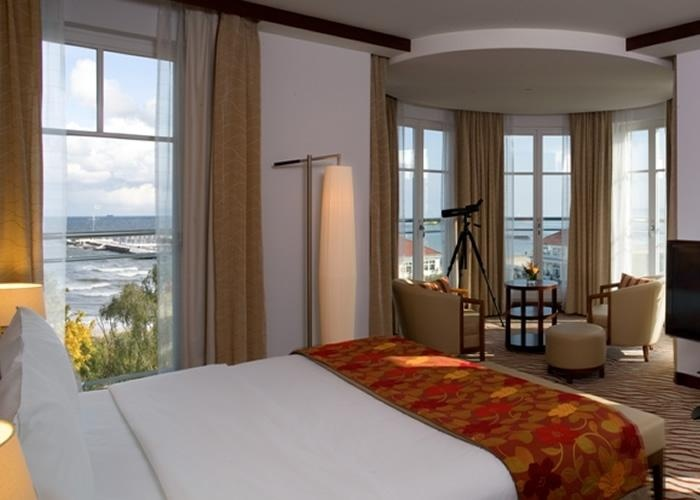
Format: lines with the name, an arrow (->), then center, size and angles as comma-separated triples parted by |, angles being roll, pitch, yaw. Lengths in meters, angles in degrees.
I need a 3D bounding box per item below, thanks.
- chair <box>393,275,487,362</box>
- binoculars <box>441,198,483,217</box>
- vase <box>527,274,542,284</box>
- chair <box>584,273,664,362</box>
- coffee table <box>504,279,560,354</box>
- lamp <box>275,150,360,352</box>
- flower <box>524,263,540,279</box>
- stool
chair -> 1.085, 0.807, 5.928 | 1.003, 0.927, 1.031 | -2, 2, 14
binoculars -> 1.564, -0.559, 6.899 | 0.493, 0.197, 0.397 | -1, 2, -11
vase -> 2.469, 0.381, 6.520 | 0.132, 0.147, 0.140 | 2, 5, 8
chair -> 3.329, 0.639, 6.002 | 0.874, 1.116, 1.116 | 0, -1, 35
coffee table -> 2.395, 0.899, 6.467 | 0.812, 1.034, 0.860 | 0, 1, -27
lamp -> -0.264, 0.040, 5.089 | 0.687, 2.055, 0.620 | 8, 13, 44
flower -> 2.613, 0.301, 7.030 | 0.224, 0.304, 0.230 | 0, 3, 10
stool -> 2.418, 1.051, 5.235 | 0.575, 0.552, 0.582 | 3, 9, 37
